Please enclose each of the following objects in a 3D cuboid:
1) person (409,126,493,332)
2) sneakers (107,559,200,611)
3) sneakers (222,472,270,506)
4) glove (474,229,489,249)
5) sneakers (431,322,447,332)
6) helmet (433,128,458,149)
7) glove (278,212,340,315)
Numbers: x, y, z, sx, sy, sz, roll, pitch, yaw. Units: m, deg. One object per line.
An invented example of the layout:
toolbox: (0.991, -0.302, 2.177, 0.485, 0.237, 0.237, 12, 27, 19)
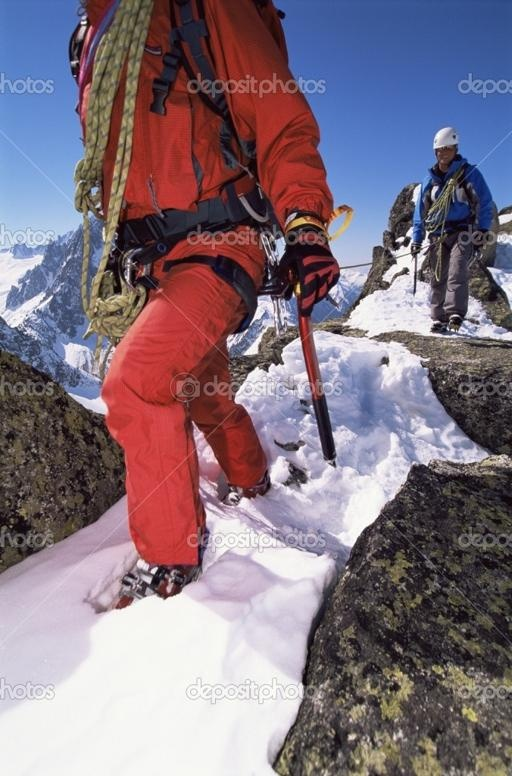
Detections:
person: (2.574, -2.103, 7.382, 0.529, 2.632, 1.205, -6, 10, -23)
sneakers: (-0.460, 0.829, 2.386, 0.276, 0.116, 0.224, -1, 35, 27)
sneakers: (-0.082, 0.637, 3.552, 0.164, 0.267, 0.276, 0, 2, 31)
glove: (2.889, -1.913, 7.032, 0.259, 0.285, 0.032, -3, 9, 3)
sneakers: (2.415, -0.792, 7.243, 0.164, 0.155, 0.120, -4, -3, -26)
helmet: (2.481, -3.258, 7.160, 0.257, 0.274, 0.288, 0, 10, 10)
glove: (0.231, -0.532, 2.428, 0.261, 0.435, 0.364, -2, 10, 3)
